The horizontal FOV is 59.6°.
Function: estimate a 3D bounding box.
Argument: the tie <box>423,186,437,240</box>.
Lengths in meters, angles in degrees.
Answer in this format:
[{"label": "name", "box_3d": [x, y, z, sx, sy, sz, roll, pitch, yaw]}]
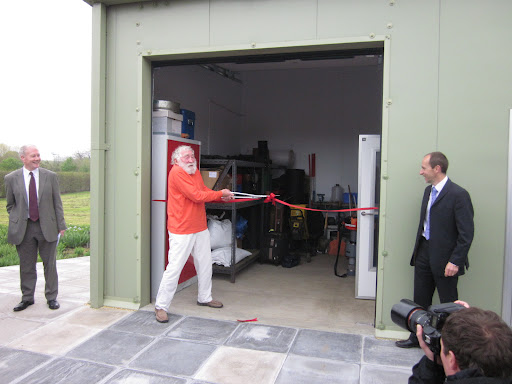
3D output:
[{"label": "tie", "box_3d": [1.748, 0.206, 4.520, 0.092, 0.426, 0.294, 6, -1, 7]}]

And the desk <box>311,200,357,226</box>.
[{"label": "desk", "box_3d": [1.511, 0.469, 9.539, 0.710, 0.412, 0.522, 2, 4, 32]}]

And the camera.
[{"label": "camera", "box_3d": [1.135, 0.878, 3.007, 0.151, 0.287, 0.432, -15, 7, -10]}]

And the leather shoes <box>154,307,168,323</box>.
[{"label": "leather shoes", "box_3d": [-1.092, 1.436, 5.198, 0.144, 0.126, 0.161, -2, 10, -14]}]

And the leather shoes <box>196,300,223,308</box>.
[{"label": "leather shoes", "box_3d": [-0.584, 1.403, 5.675, 0.299, 0.122, 0.118, -1, -2, 8]}]

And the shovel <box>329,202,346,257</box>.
[{"label": "shovel", "box_3d": [1.652, 0.774, 8.773, 0.429, 0.967, 0.320, 7, 0, 11]}]

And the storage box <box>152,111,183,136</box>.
[{"label": "storage box", "box_3d": [-1.193, -0.890, 6.005, 0.293, 0.292, 0.562, 0, 3, 13]}]

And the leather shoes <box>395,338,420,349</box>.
[{"label": "leather shoes", "box_3d": [1.587, 1.603, 4.692, 0.239, 0.169, 0.097, 0, -4, 21]}]

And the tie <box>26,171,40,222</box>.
[{"label": "tie", "box_3d": [-2.696, 0.057, 5.410, 0.106, 0.607, 0.115, -2, 9, -17]}]

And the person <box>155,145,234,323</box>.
[{"label": "person", "box_3d": [-0.808, 0.479, 5.388, 0.891, 2.026, 0.553, -3, 10, -23]}]

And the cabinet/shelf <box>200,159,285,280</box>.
[{"label": "cabinet/shelf", "box_3d": [-0.380, 0.355, 7.554, 0.564, 1.718, 1.821, 1, -2, 15]}]

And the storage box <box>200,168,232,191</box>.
[{"label": "storage box", "box_3d": [-0.633, -0.201, 6.978, 0.278, 0.421, 0.530, 0, 2, 13]}]

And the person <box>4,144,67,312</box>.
[{"label": "person", "box_3d": [-2.681, 0.573, 5.480, 0.631, 1.726, 0.427, -4, 10, -27]}]

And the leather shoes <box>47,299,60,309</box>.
[{"label": "leather shoes", "box_3d": [-2.495, 1.390, 5.535, 0.077, 0.079, 0.171, 1, -2, -42]}]
